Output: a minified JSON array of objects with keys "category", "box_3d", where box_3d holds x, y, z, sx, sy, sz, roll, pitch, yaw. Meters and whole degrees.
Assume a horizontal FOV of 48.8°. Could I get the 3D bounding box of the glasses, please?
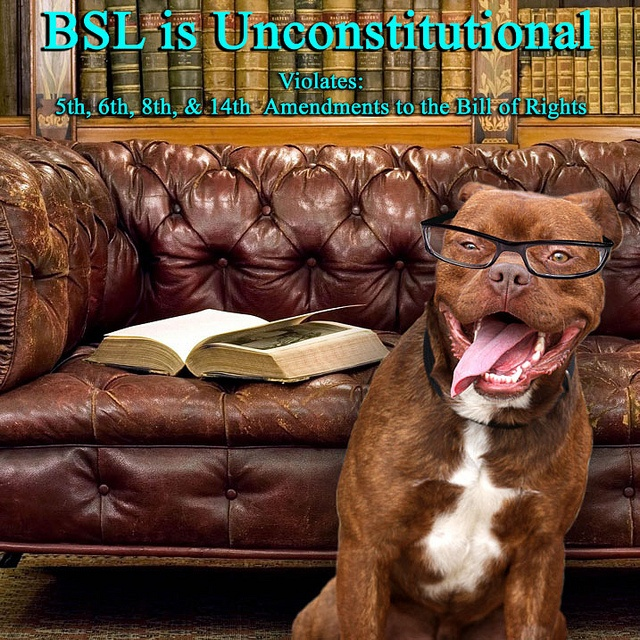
[{"category":"glasses","box_3d":[0.226,-0.080,0.810,0.199,0.065,0.080,2,6,19]}]
